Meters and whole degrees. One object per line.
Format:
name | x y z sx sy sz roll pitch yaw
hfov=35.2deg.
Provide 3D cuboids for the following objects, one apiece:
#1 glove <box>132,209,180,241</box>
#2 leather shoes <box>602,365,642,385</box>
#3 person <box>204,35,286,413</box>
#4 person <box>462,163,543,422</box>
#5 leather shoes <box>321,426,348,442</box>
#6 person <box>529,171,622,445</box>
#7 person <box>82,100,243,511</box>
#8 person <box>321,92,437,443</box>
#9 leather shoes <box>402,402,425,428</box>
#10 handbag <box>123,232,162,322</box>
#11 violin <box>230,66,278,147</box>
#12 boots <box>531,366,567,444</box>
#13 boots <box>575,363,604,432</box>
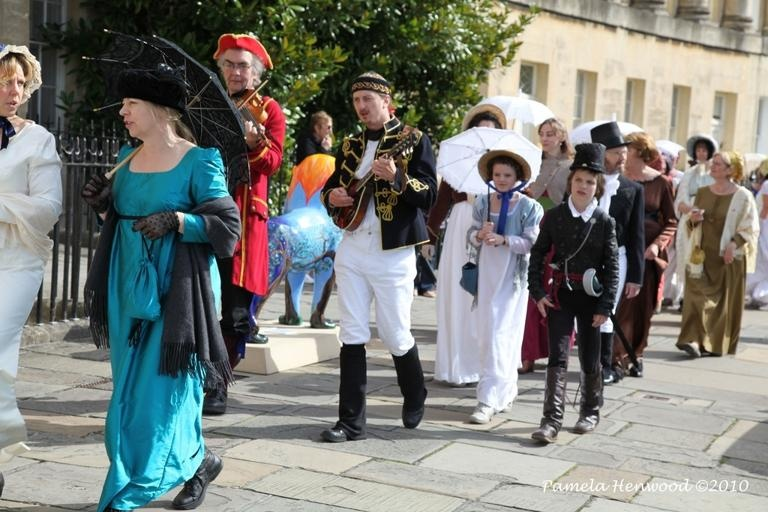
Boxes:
glove | -1.603 -0.230 8.592 0.329 0.192 0.074 0 3 -11
leather shoes | 2.294 1.140 11.767 0.540 0.186 0.175 1 -4 -39
person | -1.125 -0.389 10.239 0.902 2.878 1.067 1 -4 -4
person | 1.049 0.246 10.839 0.839 2.033 0.795 1 -1 10
leather shoes | -0.397 1.439 9.813 0.185 0.081 0.104 12 31 -37
person | 1.575 0.391 10.090 0.730 2.274 0.463 1 3 6
person | -1.599 0.343 8.772 1.084 2.962 0.558 0 3 -13
person | -0.037 0.057 9.976 0.940 2.861 0.520 1 3 -3
leather shoes | 0.247 1.324 10.164 0.107 0.255 0.117 5 13 17
handbag | -1.723 0.154 8.695 0.251 0.595 0.122 1 3 -4
violin | -1.028 -1.273 10.118 0.387 0.700 0.434 1 -6 -10
boots | 1.384 1.208 10.120 0.239 0.630 0.515 5 2 20
boots | 1.736 1.218 10.317 0.196 0.472 0.474 4 13 20
